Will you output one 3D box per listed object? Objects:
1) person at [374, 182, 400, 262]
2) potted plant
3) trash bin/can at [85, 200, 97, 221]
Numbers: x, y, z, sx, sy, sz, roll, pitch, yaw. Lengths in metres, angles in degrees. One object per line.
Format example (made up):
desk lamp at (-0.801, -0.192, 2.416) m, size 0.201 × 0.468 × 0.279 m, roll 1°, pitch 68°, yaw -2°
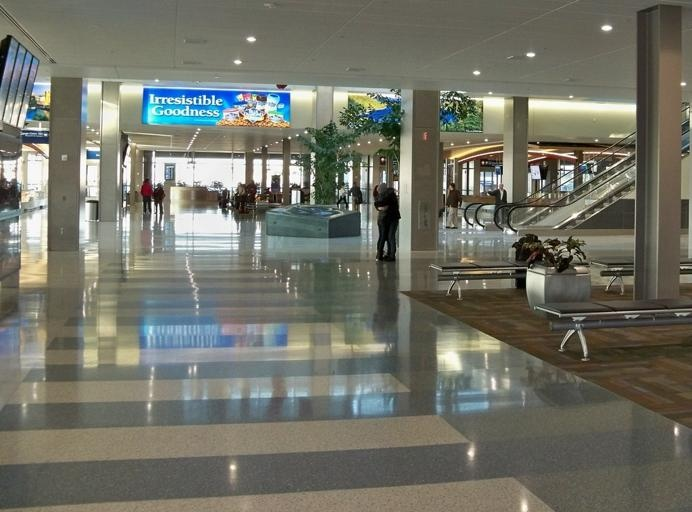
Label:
person at (0.896, -0.757, 12.322) m, size 0.512 × 1.617 × 1.571 m, roll 1°, pitch 7°, yaw 3°
potted plant at (2.470, 0.294, 6.402) m, size 0.702 × 0.805 × 0.717 m, roll -7°, pitch -5°, yaw 39°
trash bin/can at (-11.112, -1.975, 24.143) m, size 0.400 × 0.802 × 2.350 m, roll -2°, pitch 8°, yaw -26°
